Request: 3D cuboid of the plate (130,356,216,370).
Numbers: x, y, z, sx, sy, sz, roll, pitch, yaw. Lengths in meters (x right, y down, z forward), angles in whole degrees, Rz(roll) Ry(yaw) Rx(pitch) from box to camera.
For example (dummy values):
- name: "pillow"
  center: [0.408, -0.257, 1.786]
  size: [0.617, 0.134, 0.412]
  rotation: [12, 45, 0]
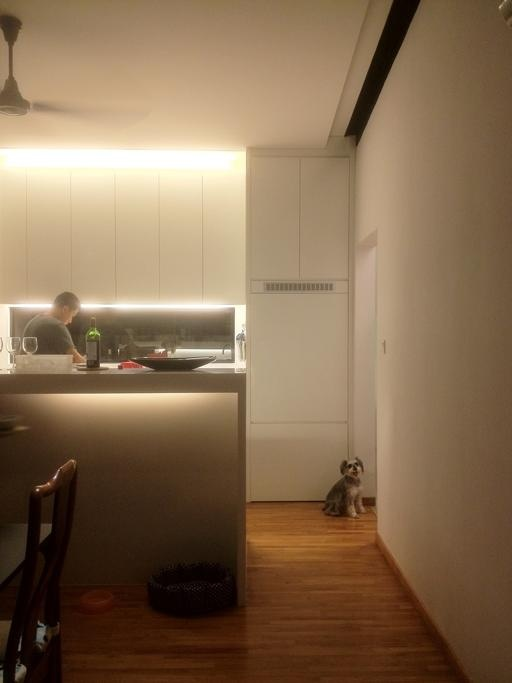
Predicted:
- name: "plate"
  center: [-0.425, 0.108, 2.705]
  size: [0.385, 0.068, 0.347]
  rotation: [1, -1, -15]

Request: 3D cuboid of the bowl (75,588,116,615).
- name: "bowl"
  center: [-0.735, 1.185, 2.520]
  size: [0.155, 0.035, 0.264]
  rotation: [1, -1, -12]

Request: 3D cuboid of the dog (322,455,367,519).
- name: "dog"
  center: [0.647, 1.058, 3.963]
  size: [0.224, 0.427, 0.325]
  rotation: [-3, -1, -40]

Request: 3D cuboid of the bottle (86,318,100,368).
- name: "bottle"
  center: [-0.813, 0.011, 2.704]
  size: [0.058, 0.241, 0.260]
  rotation: [1, -1, -15]

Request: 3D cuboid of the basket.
- name: "basket"
  center: [-0.283, 1.100, 2.446]
  size: [0.239, 0.090, 0.211]
  rotation: [-1, -4, 9]
